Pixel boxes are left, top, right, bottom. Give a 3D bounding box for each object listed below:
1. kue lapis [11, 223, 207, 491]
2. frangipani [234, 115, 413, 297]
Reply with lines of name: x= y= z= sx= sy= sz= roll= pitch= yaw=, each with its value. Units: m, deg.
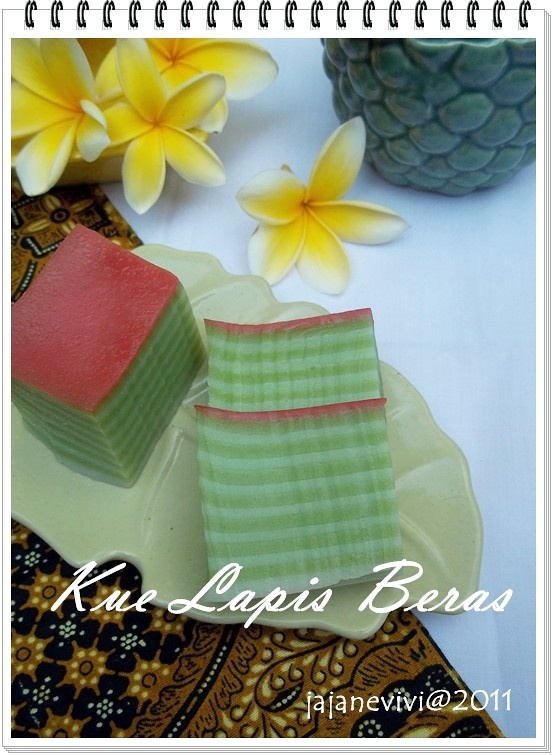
kue lapis: x=-0.249 y=-0.027 z=0.999 sx=0.184 sy=0.278 sz=0.242 roll=15 pitch=47 yaw=19
frangipani: x=0.091 y=-0.312 z=1.233 sx=0.254 sy=0.256 sz=0.340 roll=-32 pitch=52 yaw=-30
